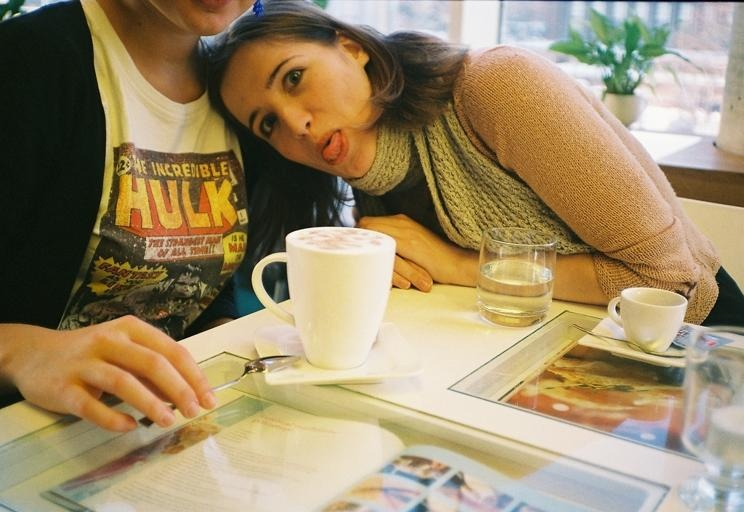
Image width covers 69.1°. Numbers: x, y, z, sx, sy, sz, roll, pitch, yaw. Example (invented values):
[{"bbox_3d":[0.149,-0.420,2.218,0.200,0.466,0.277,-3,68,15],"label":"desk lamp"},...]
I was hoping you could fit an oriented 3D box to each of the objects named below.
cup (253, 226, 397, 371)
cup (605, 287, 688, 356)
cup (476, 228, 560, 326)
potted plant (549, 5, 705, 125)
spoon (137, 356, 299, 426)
[{"bbox_3d":[-0.069,0.064,0.764,0.210,0.168,0.152,1,11,-1],"label":"cup"},{"bbox_3d":[0.418,0.100,0.816,0.111,0.076,0.095,9,17,39],"label":"cup"},{"bbox_3d":[0.248,0.036,0.921,0.134,0.135,0.134,-2,17,1],"label":"cup"},{"bbox_3d":[0.912,-0.715,1.979,0.461,0.337,0.463,3,1,32],"label":"potted plant"},{"bbox_3d":[-0.188,0.167,0.651,0.157,0.012,0.028,-24,25,-34],"label":"spoon"}]
